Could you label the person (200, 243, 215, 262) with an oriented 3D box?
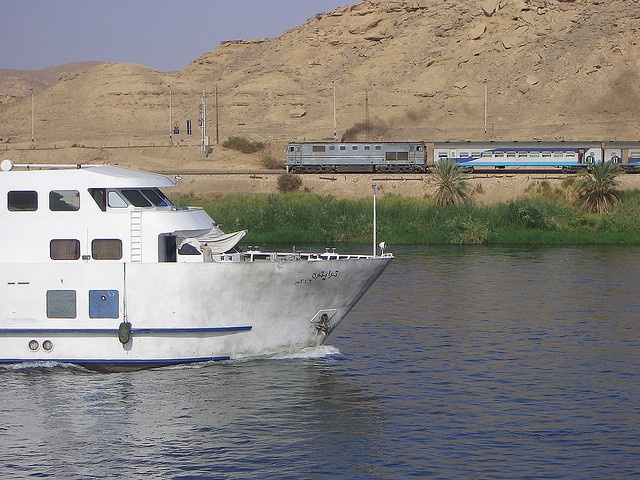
[{"bbox_3d":[-13.751,1.340,233.911,1.188,2.132,0.480,-4,0,-7],"label":"person"}]
